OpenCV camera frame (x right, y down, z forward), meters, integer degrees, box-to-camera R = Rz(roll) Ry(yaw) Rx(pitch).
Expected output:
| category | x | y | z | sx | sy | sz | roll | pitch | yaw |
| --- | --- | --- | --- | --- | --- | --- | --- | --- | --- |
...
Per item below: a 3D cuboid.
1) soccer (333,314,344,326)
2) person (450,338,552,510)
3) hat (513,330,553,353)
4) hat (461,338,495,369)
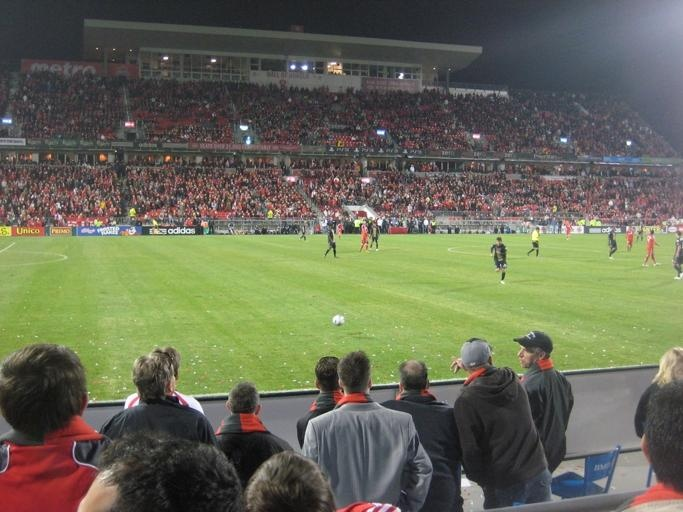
| category | x | y | z | sx | sy | sz | roll | pitch | yaw |
| --- | --- | --- | --- | --- | --- | --- | --- | --- | --- |
| soccer | -0.085 | 1.390 | 16.375 | 0.186 | 0.205 | 0.242 | 9 | 2 | 11 |
| person | 1.650 | 1.803 | 7.966 | 1.032 | 1.768 | 0.465 | 0 | 3 | -5 |
| hat | 2.219 | 0.984 | 8.888 | 0.396 | 0.206 | 0.259 | 8 | -2 | 10 |
| hat | 1.466 | 1.039 | 8.217 | 0.246 | 0.227 | 0.365 | 1 | 25 | 27 |
